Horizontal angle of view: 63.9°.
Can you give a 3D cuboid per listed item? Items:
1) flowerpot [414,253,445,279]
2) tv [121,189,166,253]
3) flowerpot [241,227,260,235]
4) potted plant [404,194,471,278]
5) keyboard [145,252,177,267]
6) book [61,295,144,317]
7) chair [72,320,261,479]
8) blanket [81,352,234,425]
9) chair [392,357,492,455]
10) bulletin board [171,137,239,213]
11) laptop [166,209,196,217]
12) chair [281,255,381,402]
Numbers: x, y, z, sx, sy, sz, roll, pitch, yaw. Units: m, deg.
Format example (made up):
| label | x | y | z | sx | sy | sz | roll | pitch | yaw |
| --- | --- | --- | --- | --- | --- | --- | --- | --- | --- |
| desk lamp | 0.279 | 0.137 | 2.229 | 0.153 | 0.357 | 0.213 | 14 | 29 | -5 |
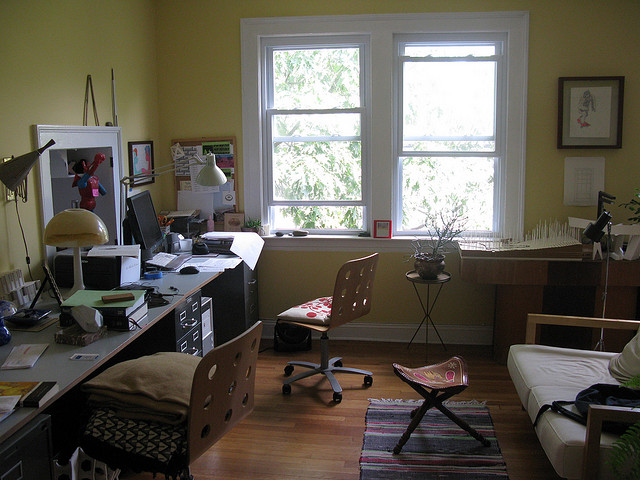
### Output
| label | x | y | z | sx | sy | sz | roll | pitch | yaw |
| --- | --- | --- | --- | --- | --- | --- | --- | --- | --- |
| flowerpot | 0.861 | 0.195 | 4.018 | 0.182 | 0.142 | 0.191 | -1 | 5 | -4 |
| tv | -1.300 | -0.129 | 3.724 | 0.188 | 0.439 | 0.418 | -3 | 18 | 4 |
| flowerpot | -0.645 | -0.086 | 4.660 | 0.176 | 0.056 | 0.051 | 3 | 13 | 20 |
| potted plant | 0.987 | 0.018 | 4.375 | 0.377 | 0.558 | 0.369 | 16 | 1 | -14 |
| keyboard | -1.189 | 0.138 | 3.816 | 0.136 | 0.064 | 0.372 | -3 | 13 | -4 |
| book | -1.167 | 0.374 | 2.749 | 0.420 | 0.069 | 0.158 | -7 | 13 | -21 |
| chair | -0.697 | 0.782 | 2.530 | 0.792 | 0.544 | 0.829 | 0 | 3 | 18 |
| blanket | -0.801 | 0.714 | 2.557 | 0.630 | 0.184 | 0.440 | 3 | 13 | 20 |
| chair | 0.736 | 1.022 | 3.249 | 0.564 | 0.453 | 0.620 | -4 | -1 | -13 |
| bulletin board | -1.012 | -0.607 | 4.592 | 0.633 | 0.846 | 0.056 | 0 | 4 | 1 |
| laptop | -1.268 | -0.244 | 4.665 | 0.241 | 0.041 | 0.262 | -2 | 12 | 2 |
| chair | 0.072 | 0.605 | 3.916 | 0.735 | 1.067 | 0.757 | 0 | 10 | -13 |
